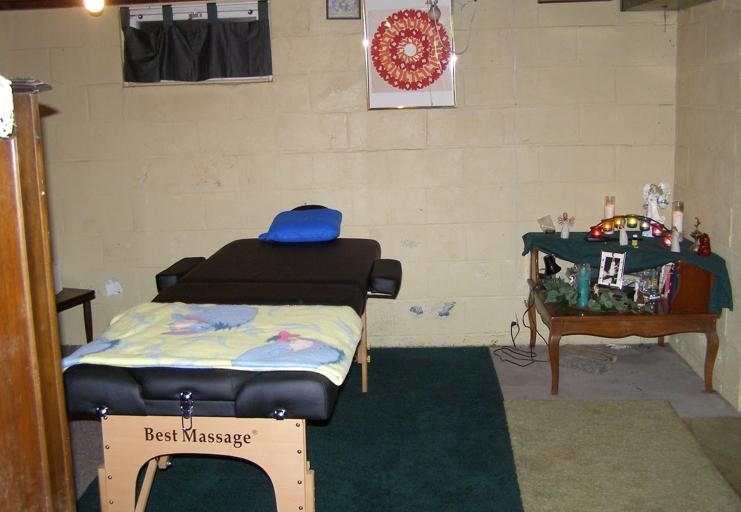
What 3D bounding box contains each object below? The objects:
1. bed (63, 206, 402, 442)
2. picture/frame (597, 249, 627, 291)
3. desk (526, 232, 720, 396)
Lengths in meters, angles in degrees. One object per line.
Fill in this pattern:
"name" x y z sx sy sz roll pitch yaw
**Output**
"bed" -0.577 0.609 3.988 1.452 1.015 2.000 0 10 5
"picture/frame" 1.678 0.101 4.728 0.180 0.249 0.023 5 7 -11
"desk" 1.765 0.340 4.864 1.133 0.846 1.132 0 13 0
